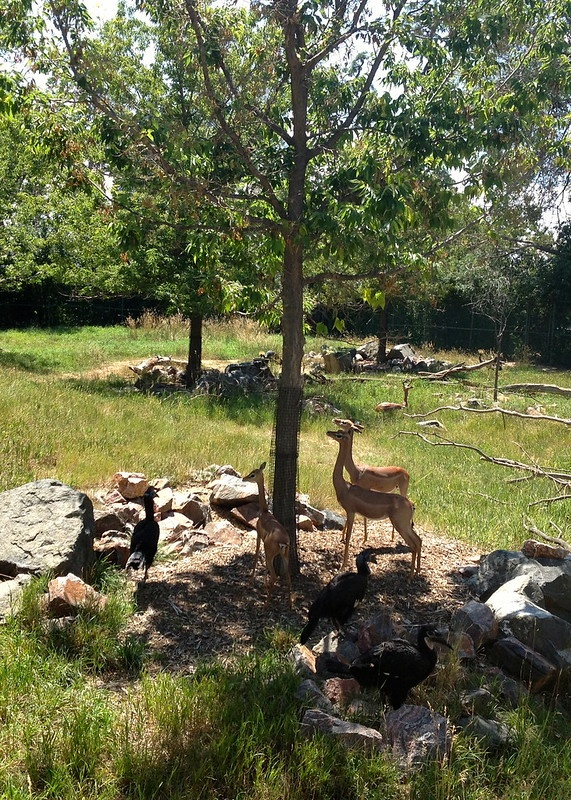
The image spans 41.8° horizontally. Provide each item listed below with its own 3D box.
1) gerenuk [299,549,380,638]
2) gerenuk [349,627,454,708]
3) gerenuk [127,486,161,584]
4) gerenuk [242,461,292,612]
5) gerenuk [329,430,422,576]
[{"bbox_3d":[0.352,1.337,5.030,0.263,0.579,0.636,7,4,38],"label":"gerenuk"},{"bbox_3d":[0.693,1.524,4.571,0.657,0.703,0.344,2,11,11],"label":"gerenuk"},{"bbox_3d":[-1.105,1.112,5.792,0.203,0.715,0.783,3,4,-11],"label":"gerenuk"},{"bbox_3d":[-0.142,1.052,5.927,0.448,0.992,0.968,4,4,-1],"label":"gerenuk"},{"bbox_3d":[0.752,0.894,6.481,0.896,1.237,0.312,7,17,10],"label":"gerenuk"}]
